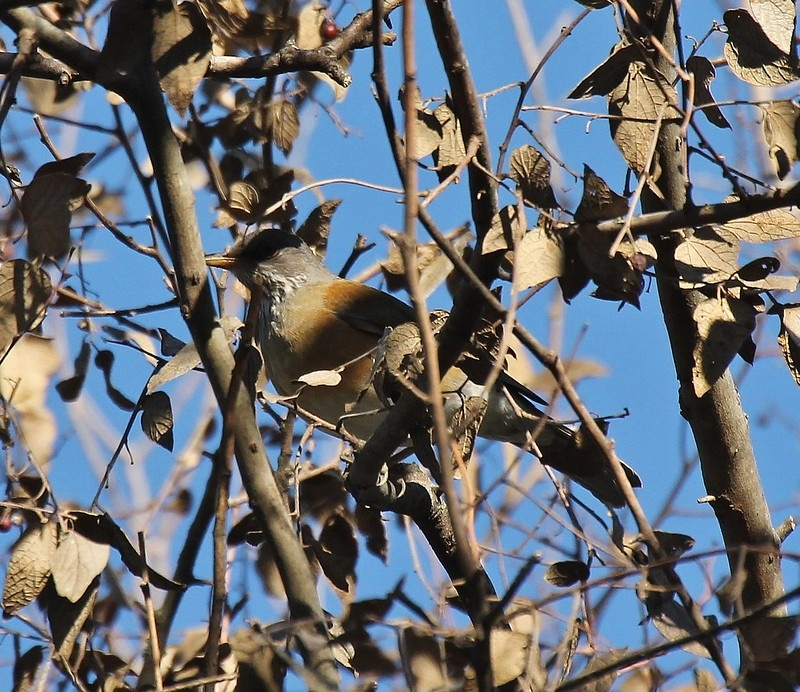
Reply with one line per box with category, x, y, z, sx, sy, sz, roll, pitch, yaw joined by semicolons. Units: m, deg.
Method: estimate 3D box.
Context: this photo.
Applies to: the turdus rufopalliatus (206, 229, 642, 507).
turdus rufopalliatus;-0.055;-0.100;6.976;1.432;0.534;0.971;-6;-92;-34
